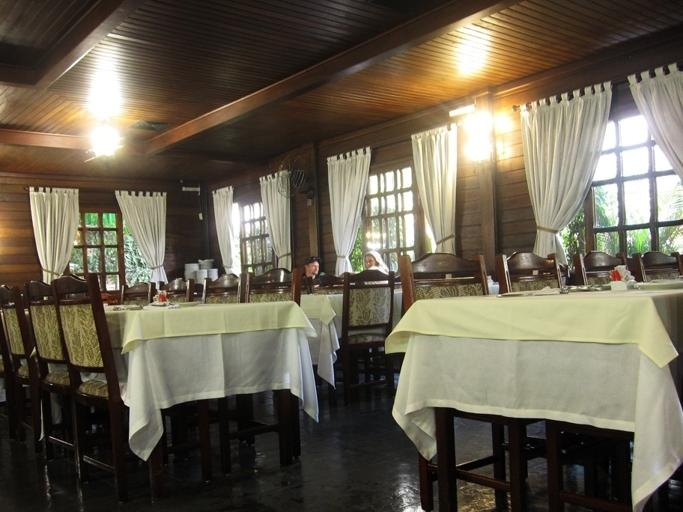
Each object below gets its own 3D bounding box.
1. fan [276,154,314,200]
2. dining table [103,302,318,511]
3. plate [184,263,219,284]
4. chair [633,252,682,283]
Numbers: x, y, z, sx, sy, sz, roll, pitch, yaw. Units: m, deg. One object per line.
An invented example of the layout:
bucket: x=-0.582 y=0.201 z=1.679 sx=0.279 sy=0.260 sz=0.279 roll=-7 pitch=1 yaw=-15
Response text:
fan: x=-0.825 y=-1.361 z=8.814 sx=0.262 sy=0.815 sz=0.797 roll=0 pitch=-5 yaw=-41
dining table: x=-0.689 y=0.613 z=2.673 sx=1.024 sy=0.595 sz=0.918 roll=1 pitch=-6 yaw=-43
plate: x=-2.616 y=0.309 z=9.235 sx=0.587 sy=0.562 sz=0.323 roll=2 pitch=-8 yaw=-36
chair: x=2.487 y=0.090 z=3.977 sx=0.222 sy=0.400 sz=0.264 roll=1 pitch=3 yaw=-1
